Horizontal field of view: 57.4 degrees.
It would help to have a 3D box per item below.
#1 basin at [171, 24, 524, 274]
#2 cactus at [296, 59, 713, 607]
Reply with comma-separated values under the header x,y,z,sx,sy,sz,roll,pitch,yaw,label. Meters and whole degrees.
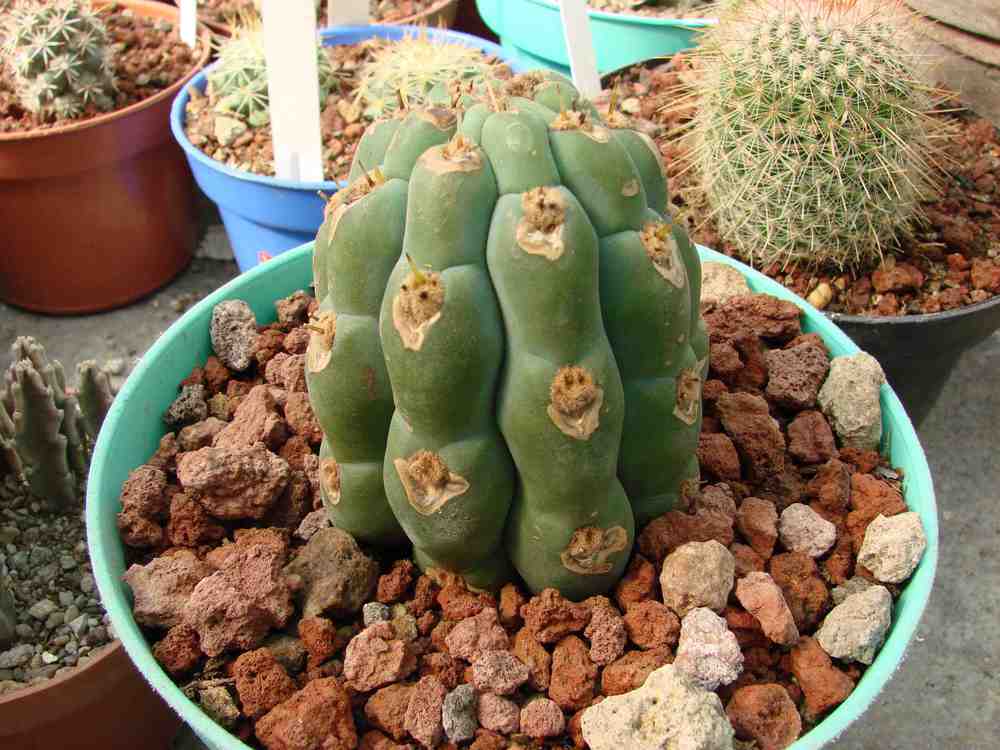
x,y,z,sx,sy,sz,roll,pitch,yaw,label
-0.353,-0.521,2.014,0.660,0.512,0.694,1,48,-2,basin
-0.034,-0.140,1.748,0.795,0.926,0.742,-5,27,-14,cactus
